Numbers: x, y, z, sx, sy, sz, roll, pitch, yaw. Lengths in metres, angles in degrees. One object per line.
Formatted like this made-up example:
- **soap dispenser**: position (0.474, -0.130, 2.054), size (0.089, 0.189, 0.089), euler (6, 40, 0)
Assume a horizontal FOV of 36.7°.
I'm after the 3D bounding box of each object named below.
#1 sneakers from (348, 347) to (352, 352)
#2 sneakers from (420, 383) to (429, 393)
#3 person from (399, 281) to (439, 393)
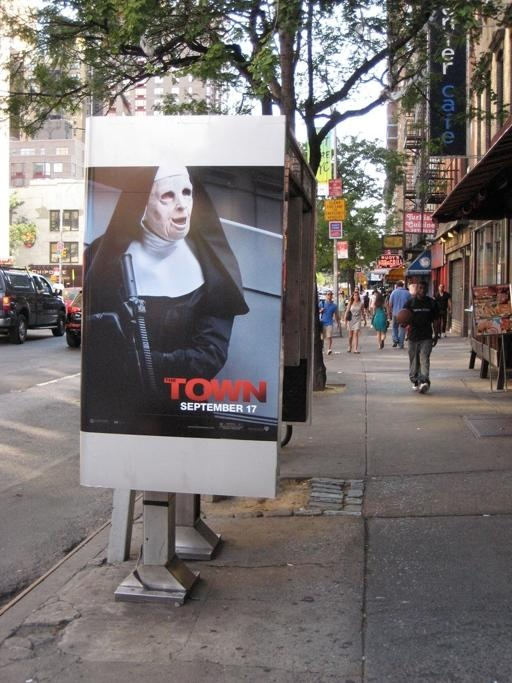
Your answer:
- **sneakers**: position (2.601, 0.192, 21.464), size (0.116, 0.171, 0.411), euler (-1, 1, 7)
- **sneakers**: position (2.640, 0.747, 12.089), size (0.090, 0.112, 0.259), euler (-3, -38, 0)
- **person**: position (2.623, -0.098, 12.412), size (0.572, 1.759, 1.048), euler (1, 2, 13)
